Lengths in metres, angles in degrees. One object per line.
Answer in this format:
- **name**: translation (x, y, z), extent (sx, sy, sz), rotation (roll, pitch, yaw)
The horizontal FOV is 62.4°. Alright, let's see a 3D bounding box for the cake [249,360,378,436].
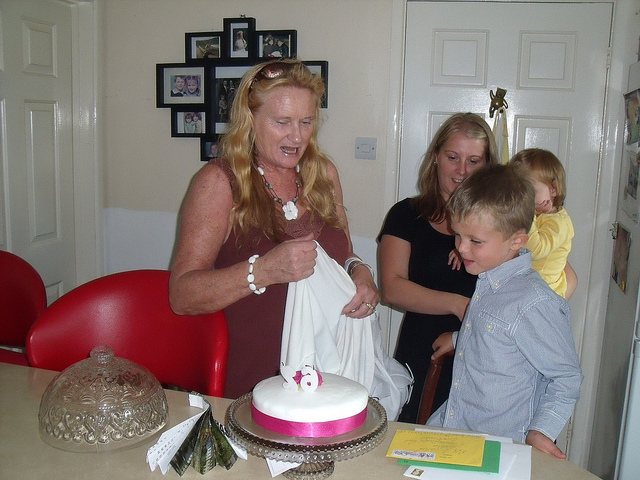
- **cake**: translation (-0.020, 0.412, 1.392), extent (0.295, 0.127, 0.311), rotation (-4, 4, -7)

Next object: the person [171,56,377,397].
- **person**: translation (-0.149, -0.031, 1.825), extent (0.688, 1.148, 0.561), rotation (-1, 12, -5)

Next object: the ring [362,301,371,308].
- **ring**: translation (0.157, 0.224, 1.814), extent (0.032, 0.020, 0.005), rotation (-3, 13, -17)

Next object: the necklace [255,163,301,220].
- **necklace**: translation (-0.149, -0.168, 1.897), extent (0.128, 0.222, 0.126), rotation (-7, 18, -36)

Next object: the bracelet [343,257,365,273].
- **bracelet**: translation (0.115, 0.092, 1.994), extent (0.046, 0.039, 0.047), rotation (-12, 14, -21)
